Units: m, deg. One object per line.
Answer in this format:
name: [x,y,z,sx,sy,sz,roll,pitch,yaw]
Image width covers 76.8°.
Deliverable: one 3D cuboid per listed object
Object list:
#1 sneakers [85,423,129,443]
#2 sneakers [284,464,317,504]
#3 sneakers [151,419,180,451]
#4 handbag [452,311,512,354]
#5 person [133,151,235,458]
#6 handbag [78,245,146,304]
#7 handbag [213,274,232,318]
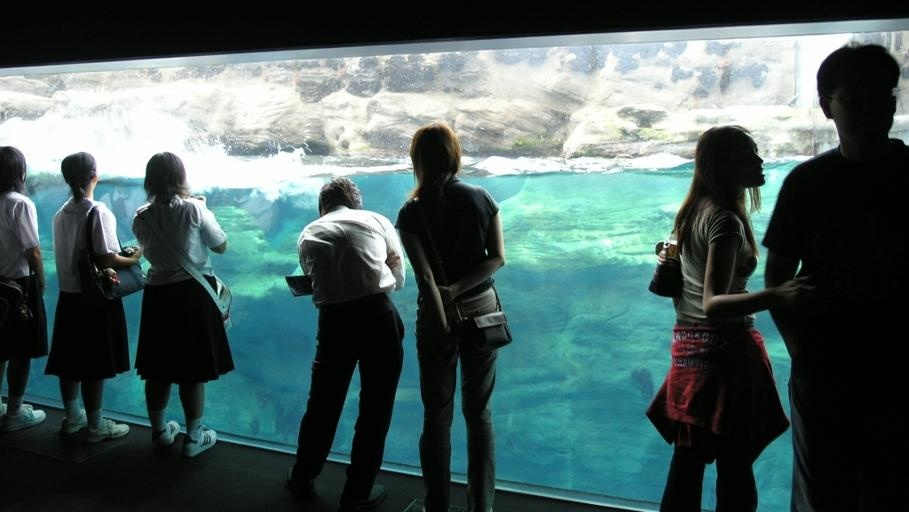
sneakers: [-3.306,1.663,5.470,0.352,0.133,0.151,-5,10,-33]
sneakers: [-1.343,1.946,5.001,0.178,0.249,0.374,4,23,-36]
sneakers: [-2.718,1.688,5.424,0.137,0.129,0.312,15,18,-2]
handbag: [0.191,0.594,4.518,0.371,0.307,0.179,-4,-18,-30]
person: [-2.475,0.450,5.222,0.871,2.759,0.421,2,9,-11]
handbag: [-3.185,0.158,5.289,0.498,0.263,0.628,-13,57,-46]
handbag: [-2.117,0.365,5.359,0.164,0.406,0.197,-6,-4,-30]
